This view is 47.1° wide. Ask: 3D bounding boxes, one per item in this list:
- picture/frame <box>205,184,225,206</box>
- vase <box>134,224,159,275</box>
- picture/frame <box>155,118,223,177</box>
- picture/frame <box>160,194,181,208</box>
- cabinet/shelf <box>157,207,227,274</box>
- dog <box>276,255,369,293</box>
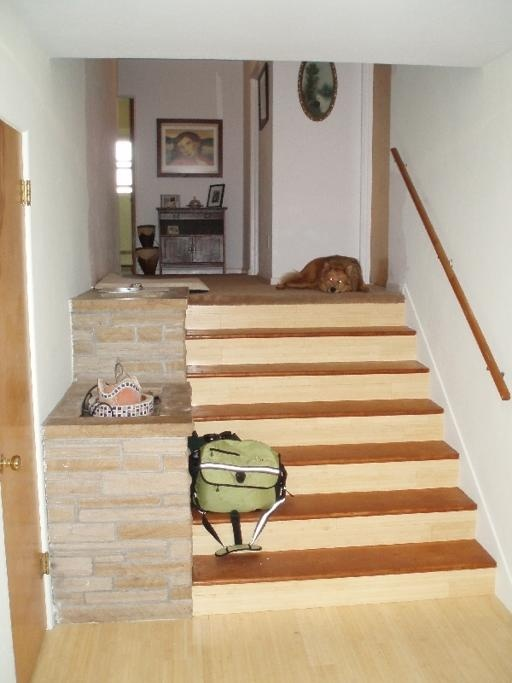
[{"bbox_3d":[-0.540,-1.924,7.729,0.307,0.328,0.026,11,4,35],"label":"picture/frame"},{"bbox_3d":[-1.367,-1.130,7.351,0.284,0.611,0.785,-2,13,-10],"label":"vase"},{"bbox_3d":[-0.907,-2.569,7.697,0.762,0.626,0.058,0,7,-7],"label":"picture/frame"},{"bbox_3d":[-1.136,-1.848,7.734,0.273,0.167,0.159,-1,13,-8],"label":"picture/frame"},{"bbox_3d":[-0.845,-1.286,7.695,0.881,0.850,0.359,-1,5,-5],"label":"cabinet/shelf"},{"bbox_3d":[0.525,-0.474,4.221,0.412,0.243,0.763,-9,15,-36],"label":"dog"}]
